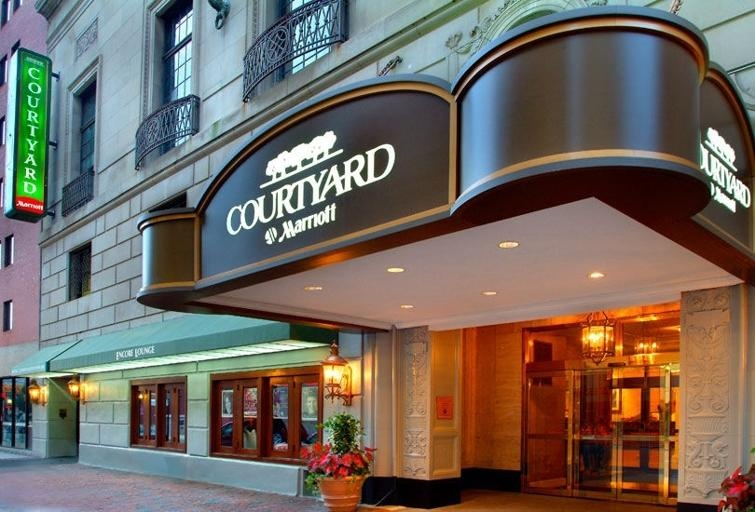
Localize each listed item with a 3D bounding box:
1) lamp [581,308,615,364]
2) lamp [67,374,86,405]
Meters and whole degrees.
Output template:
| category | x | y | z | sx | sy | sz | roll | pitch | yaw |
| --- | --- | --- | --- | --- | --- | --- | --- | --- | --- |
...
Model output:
| category | x | y | z | sx | sy | sz | roll | pitch | yaw |
| --- | --- | --- | --- | --- | --- | --- | --- | --- | --- |
| lamp | 4.246 | 1.467 | 15.071 | 0.484 | 1.225 | 0.464 | -2 | -12 | 17 |
| lamp | -9.354 | 4.132 | 24.227 | 0.419 | 0.850 | 0.623 | -2 | -5 | -43 |
